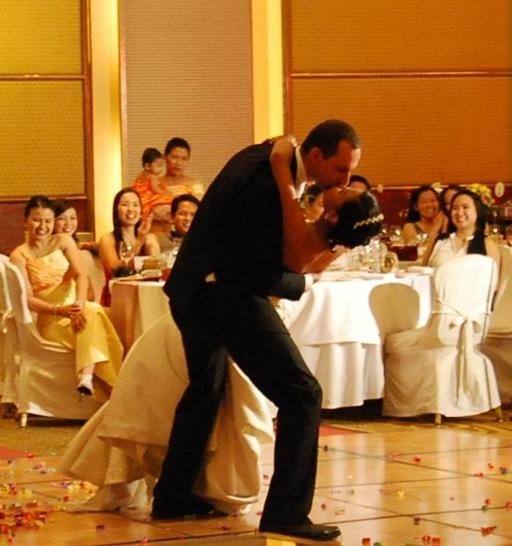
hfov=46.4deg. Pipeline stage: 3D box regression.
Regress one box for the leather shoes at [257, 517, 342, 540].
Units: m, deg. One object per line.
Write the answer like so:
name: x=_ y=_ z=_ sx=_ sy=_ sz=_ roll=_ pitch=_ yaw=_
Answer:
leather shoes: x=0.106 y=0.585 z=1.423 sx=0.188 sy=0.061 sz=0.071 roll=1 pitch=-7 yaw=-11

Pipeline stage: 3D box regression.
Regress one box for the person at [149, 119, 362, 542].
person: x=-0.041 y=0.190 z=1.577 sx=0.355 sy=1.040 sz=0.729 roll=3 pitch=-7 yaw=-27

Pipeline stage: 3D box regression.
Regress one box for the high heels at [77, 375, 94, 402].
high heels: x=-1.053 y=0.704 z=3.686 sx=0.082 sy=0.121 sz=0.136 roll=14 pitch=28 yaw=-3
